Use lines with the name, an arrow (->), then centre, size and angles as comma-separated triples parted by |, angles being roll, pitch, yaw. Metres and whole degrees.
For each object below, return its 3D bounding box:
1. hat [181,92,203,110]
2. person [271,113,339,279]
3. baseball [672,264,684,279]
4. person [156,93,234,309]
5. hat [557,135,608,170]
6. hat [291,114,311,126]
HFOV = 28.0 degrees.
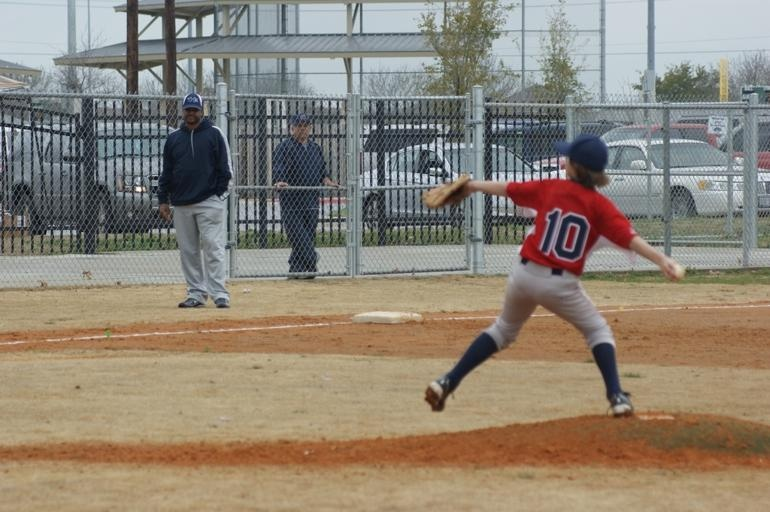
hat -> -3.090, -2.385, 24.723 | 0.302, 0.252, 0.489 | -2, 6, -8
person -> -1.474, -0.950, 27.076 | 0.985, 2.865, 0.583 | -2, 6, -5
baseball -> 3.743, 0.239, 19.641 | 0.114, 0.203, 0.262 | 0, 6, 11
person -> -3.020, -0.811, 24.773 | 1.123, 3.376, 0.516 | -2, 6, -7
hat -> 2.561, -1.251, 20.008 | 0.389, 0.312, 0.579 | -24, 56, -36
hat -> -1.431, -2.300, 27.010 | 0.406, 0.193, 0.324 | -4, 7, -23
